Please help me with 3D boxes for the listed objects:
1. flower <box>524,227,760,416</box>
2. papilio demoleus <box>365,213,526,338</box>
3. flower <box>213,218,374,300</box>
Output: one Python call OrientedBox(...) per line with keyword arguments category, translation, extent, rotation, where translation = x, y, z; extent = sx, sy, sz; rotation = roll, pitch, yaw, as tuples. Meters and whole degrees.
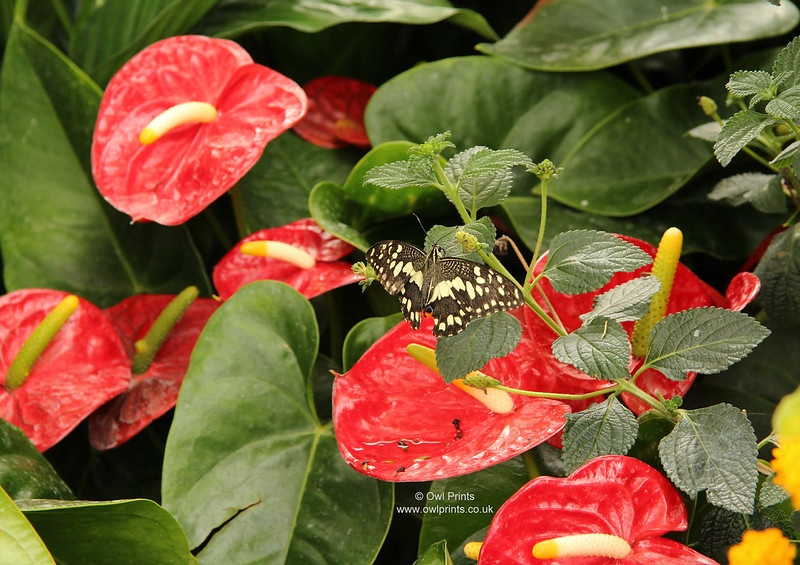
OrientedBox(category="flower", translation=(0.257, 0.047, 0.951), extent=(0.259, 0.190, 0.151), rotation=(-3, 28, 7))
OrientedBox(category="papilio demoleus", translation=(0.032, 0.005, 0.895), extent=(0.198, 0.099, 0.052), rotation=(16, 35, 36))
OrientedBox(category="flower", translation=(-0.138, -0.024, 1.097), extent=(0.203, 0.079, 0.177), rotation=(-9, -10, -15))
